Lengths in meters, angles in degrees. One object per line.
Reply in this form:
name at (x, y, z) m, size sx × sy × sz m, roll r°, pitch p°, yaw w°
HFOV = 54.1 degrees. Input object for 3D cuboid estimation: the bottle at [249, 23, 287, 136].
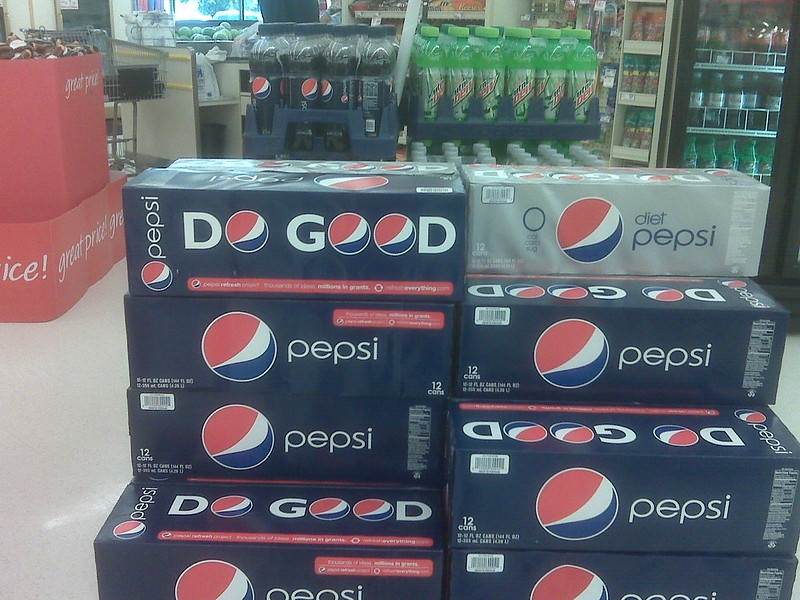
bottle at (-0.457, -0.750, 2.659) m, size 0.130 × 0.363 × 0.110 m, roll 2°, pitch 13°, yaw 10°

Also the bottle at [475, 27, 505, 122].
bottle at (0.316, -0.805, 2.805) m, size 0.094 × 0.318 × 0.076 m, roll 0°, pitch 13°, yaw 3°

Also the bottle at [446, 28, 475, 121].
bottle at (0.215, -0.808, 2.809) m, size 0.096 × 0.322 × 0.110 m, roll 0°, pitch 12°, yaw 3°

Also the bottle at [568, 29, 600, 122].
bottle at (0.676, -0.819, 2.869) m, size 0.090 × 0.328 × 0.165 m, roll 8°, pitch 15°, yaw 32°

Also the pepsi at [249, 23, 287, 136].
pepsi at (-0.457, -0.750, 2.659) m, size 0.130 × 0.363 × 0.110 m, roll 2°, pitch 13°, yaw 10°

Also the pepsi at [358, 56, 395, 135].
pepsi at (-0.081, -0.698, 2.666) m, size 0.118 × 0.274 × 0.090 m, roll -2°, pitch 13°, yaw -6°

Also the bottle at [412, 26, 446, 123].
bottle at (0.101, -0.823, 2.850) m, size 0.118 × 0.336 × 0.206 m, roll 0°, pitch 12°, yaw 1°

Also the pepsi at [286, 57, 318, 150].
pepsi at (-0.330, -0.662, 2.649) m, size 0.112 × 0.322 × 0.081 m, roll -2°, pitch 13°, yaw -6°

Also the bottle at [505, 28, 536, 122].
bottle at (0.431, -0.811, 2.827) m, size 0.112 × 0.320 × 0.093 m, roll -1°, pitch 12°, yaw -2°
